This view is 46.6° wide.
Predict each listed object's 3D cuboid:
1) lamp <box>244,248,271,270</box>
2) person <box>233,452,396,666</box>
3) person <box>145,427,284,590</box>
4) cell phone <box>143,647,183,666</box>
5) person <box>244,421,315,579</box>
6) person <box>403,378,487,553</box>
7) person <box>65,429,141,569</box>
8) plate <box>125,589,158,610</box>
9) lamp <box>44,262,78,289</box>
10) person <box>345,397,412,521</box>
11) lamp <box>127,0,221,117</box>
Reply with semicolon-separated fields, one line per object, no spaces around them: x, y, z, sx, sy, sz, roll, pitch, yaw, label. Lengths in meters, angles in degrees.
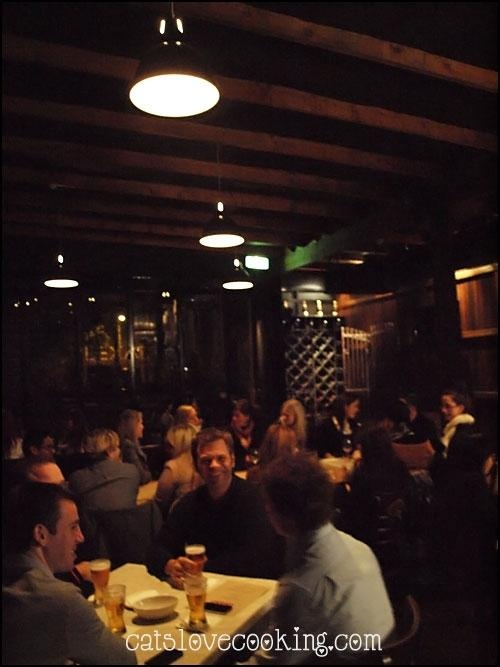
0.073;-0.849;6.646;0.174;0.213;0.383;-7;-5;36;lamp
0.317;0.832;2.282;0.621;0.853;0.610;-16;-22;39;person
-0.197;0.943;3.117;0.512;0.729;0.405;-14;-39;8;person
-0.262;1.000;1.793;0.069;0.021;0.132;-7;-5;32;cell phone
0.296;1.105;4.186;0.582;1.632;0.450;-3;38;10;person
1.385;0.903;4.019;0.516;0.982;1.175;-5;-4;15;person
-0.870;1.116;3.518;0.338;1.115;0.305;-4;8;-18;person
-0.417;0.998;2.203;0.078;0.023;0.076;6;-7;-40;plate
-1.563;-0.493;4.800;0.220;0.145;0.214;2;-5;-34;lamp
0.928;0.861;4.023;0.321;0.715;0.286;-5;12;13;person
-0.329;-1.089;2.491;0.437;0.501;0.441;-1;-8;-5;lamp
